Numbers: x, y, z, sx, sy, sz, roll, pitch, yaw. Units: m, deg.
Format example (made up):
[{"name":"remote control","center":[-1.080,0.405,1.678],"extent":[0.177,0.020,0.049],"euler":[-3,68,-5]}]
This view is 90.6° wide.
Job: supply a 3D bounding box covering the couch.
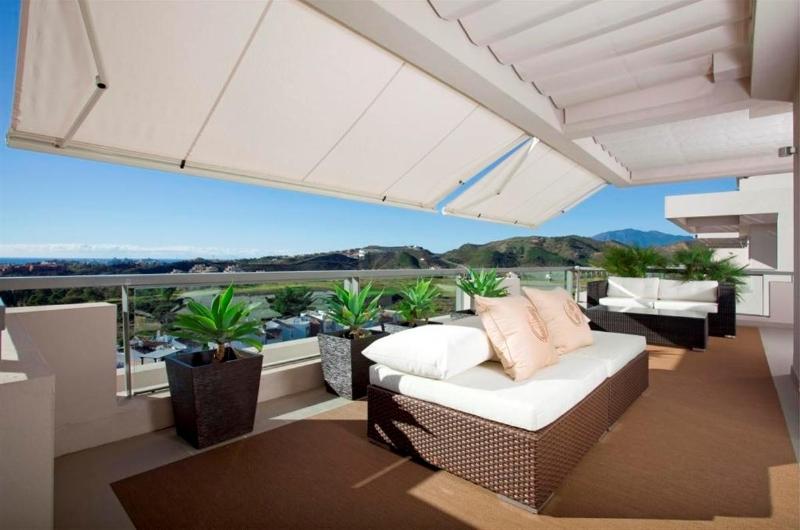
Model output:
[{"name":"couch","center":[4.379,0.743,6.602],"extent":[1.897,0.822,1.397],"euler":[-1,-6,39]}]
